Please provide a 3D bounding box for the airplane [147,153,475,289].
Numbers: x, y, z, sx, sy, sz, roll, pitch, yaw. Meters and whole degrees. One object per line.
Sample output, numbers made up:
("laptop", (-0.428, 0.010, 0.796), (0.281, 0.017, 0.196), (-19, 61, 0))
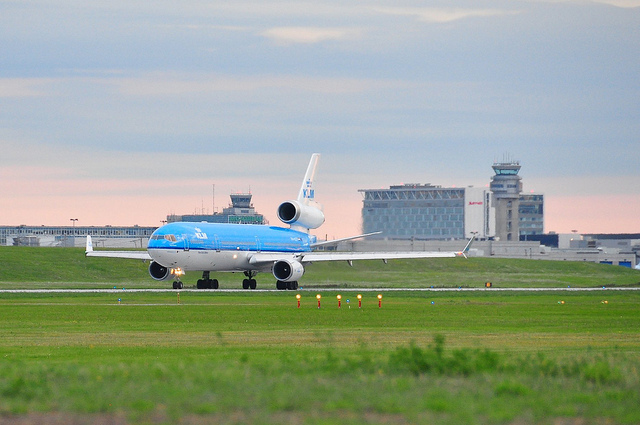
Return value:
("airplane", (-5.704, 3.235, 139.924), (22.064, 6.806, 17.727), (-1, -6, 28))
